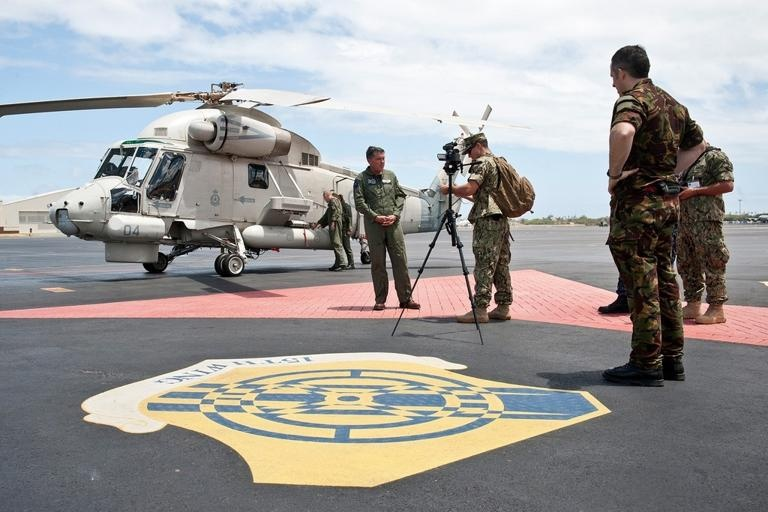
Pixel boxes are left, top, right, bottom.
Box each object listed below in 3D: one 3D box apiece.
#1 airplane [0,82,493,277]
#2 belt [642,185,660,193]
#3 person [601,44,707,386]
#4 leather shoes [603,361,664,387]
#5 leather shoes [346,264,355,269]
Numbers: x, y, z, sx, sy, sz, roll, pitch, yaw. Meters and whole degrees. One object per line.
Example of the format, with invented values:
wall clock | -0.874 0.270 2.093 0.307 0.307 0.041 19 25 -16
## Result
airplane | -4.177 -1.945 13.840 8.470 2.524 7.893 0 4 -41
belt | 2.305 -0.577 4.393 0.172 0.051 0.049 -5 5 -5
person | 2.291 -0.367 4.493 1.226 2.968 0.542 -2 6 -23
leather shoes | 2.184 1.052 4.538 0.561 0.185 0.188 2 -4 17
leather shoes | -1.070 0.343 16.055 0.160 0.139 0.392 -1 -5 2
